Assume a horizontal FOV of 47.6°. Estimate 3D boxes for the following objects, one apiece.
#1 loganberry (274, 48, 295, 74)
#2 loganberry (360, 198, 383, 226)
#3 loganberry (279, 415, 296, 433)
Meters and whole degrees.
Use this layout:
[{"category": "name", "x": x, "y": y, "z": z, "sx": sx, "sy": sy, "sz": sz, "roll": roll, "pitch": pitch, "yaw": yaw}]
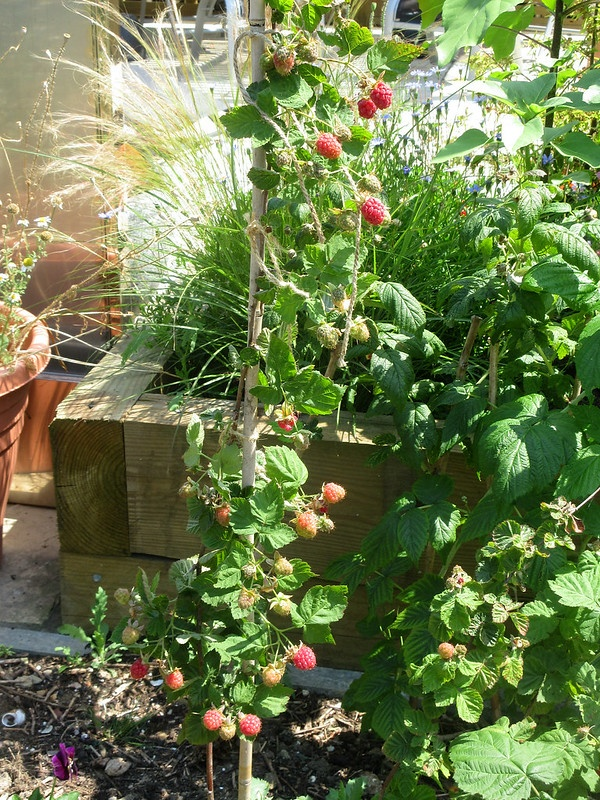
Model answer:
[{"category": "loganberry", "x": -0.016, "y": -0.339, "z": 0.678, "sx": 0.022, "sy": 0.023, "sz": 0.021, "roll": 3, "pitch": 12, "yaw": -10}, {"category": "loganberry", "x": 0.071, "y": -0.185, "z": 0.668, "sx": 0.025, "sy": 0.028, "sz": 0.025, "roll": -16, "pitch": 29, "yaw": -25}, {"category": "loganberry", "x": -0.016, "y": 0.028, "z": 0.834, "sx": 0.012, "sy": 0.014, "sz": 0.017, "roll": 48, "pitch": -15, "yaw": 20}]
